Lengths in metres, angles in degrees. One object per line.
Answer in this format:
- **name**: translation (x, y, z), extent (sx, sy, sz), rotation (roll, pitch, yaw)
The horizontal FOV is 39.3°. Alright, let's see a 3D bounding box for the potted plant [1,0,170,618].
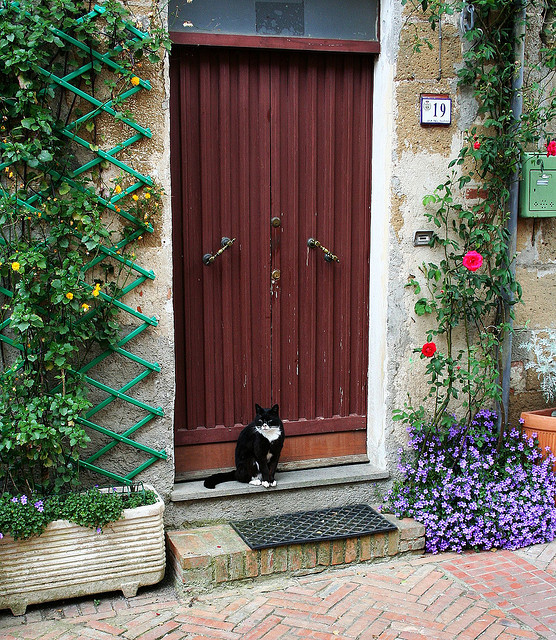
- **potted plant**: translation (-0.968, -0.080, 3.833), extent (0.808, 2.918, 0.524), rotation (-1, 1, -9)

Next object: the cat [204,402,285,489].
- **cat**: translation (-0.086, 0.730, 4.563), extent (0.477, 0.522, 0.382), rotation (-5, -8, 33)

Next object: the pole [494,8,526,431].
- **pole**: translation (1.413, -0.562, 4.703), extent (0.209, 2.493, 0.378), rotation (-1, 1, 15)

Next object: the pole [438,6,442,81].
- **pole**: translation (0.935, -1.542, 4.445), extent (0.021, 0.328, 0.146), rotation (-1, 1, 12)
